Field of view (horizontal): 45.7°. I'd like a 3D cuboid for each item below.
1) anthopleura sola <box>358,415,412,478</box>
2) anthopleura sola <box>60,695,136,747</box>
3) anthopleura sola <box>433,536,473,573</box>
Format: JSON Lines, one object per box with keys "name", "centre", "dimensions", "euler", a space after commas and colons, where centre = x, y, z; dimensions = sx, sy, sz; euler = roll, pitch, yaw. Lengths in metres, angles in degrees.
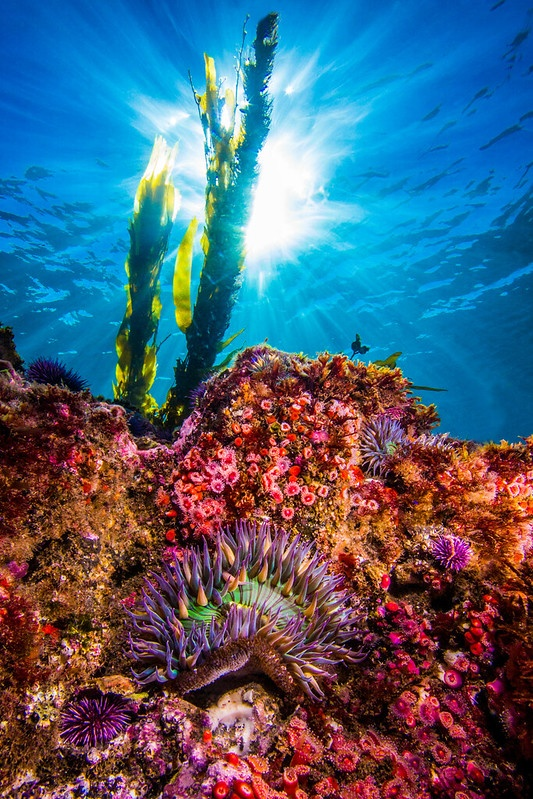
{"name": "anthopleura sola", "centre": [0.992, 0.387, 5.437], "dimensions": [0.455, 0.218, 0.471], "euler": [-20, 64, -9]}
{"name": "anthopleura sola", "centre": [-1.042, 1.952, 3.866], "dimensions": [0.293, 0.121, 0.274], "euler": [14, 16, 18]}
{"name": "anthopleura sola", "centre": [1.393, 1.177, 4.896], "dimensions": [0.265, 0.262, 0.229], "euler": [7, 55, -13]}
